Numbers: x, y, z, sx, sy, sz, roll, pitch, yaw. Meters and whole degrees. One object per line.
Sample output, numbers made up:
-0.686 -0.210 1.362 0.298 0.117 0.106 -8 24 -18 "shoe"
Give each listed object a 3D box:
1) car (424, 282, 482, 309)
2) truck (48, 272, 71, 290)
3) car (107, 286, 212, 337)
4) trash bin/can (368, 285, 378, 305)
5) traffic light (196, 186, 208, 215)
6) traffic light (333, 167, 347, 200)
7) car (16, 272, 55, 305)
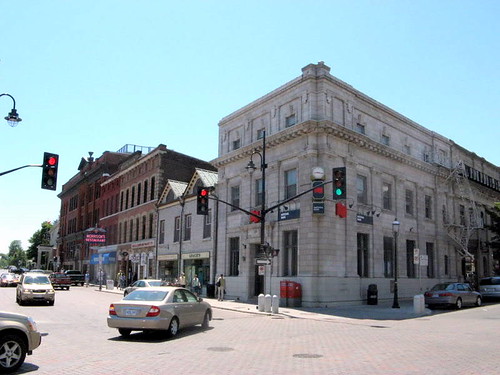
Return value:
13.092 6.967 29.189 3.696 1.608 1.447 11 -18 -33 "car"
-19.708 9.746 46.732 1.663 1.292 3.627 4 -7 -29 "truck"
-3.087 4.585 16.788 1.471 1.769 3.705 -12 -20 39 "car"
8.450 7.369 31.247 0.680 1.357 0.433 0 -15 2 "trash bin/can"
-2.501 0.694 24.111 0.490 1.372 1.349 1 -15 -2 "traffic light"
4.286 -0.276 21.773 0.547 1.462 0.880 -1 -15 5 "traffic light"
-13.617 6.324 28.563 1.541 1.438 3.240 6 -18 -27 "car"
